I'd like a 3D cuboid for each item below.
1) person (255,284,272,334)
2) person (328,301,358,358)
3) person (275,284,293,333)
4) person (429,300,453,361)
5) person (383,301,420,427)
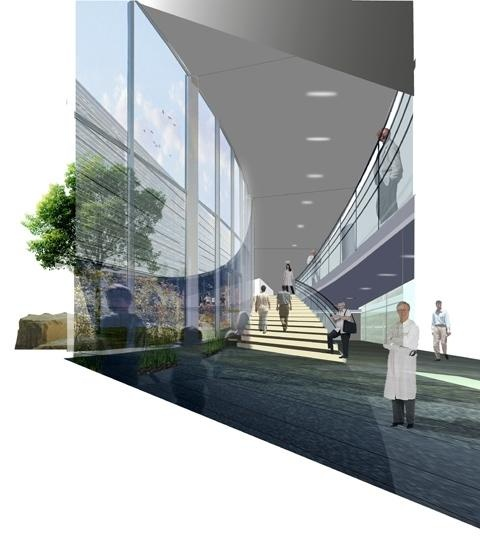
[{"bbox_3d":[0.592,1.020,9.892,0.372,1.343,0.920,1,-4,2],"label":"person"},{"bbox_3d":[2.421,1.453,8.870,0.634,1.412,1.760,0,-4,15],"label":"person"},{"bbox_3d":[1.210,1.025,10.214,0.375,1.265,0.500,1,-4,6],"label":"person"},{"bbox_3d":[5.038,1.507,9.227,0.426,1.581,1.147,-1,-4,30],"label":"person"},{"bbox_3d":[1.624,0.956,3.697,0.295,1.298,0.428,-1,-4,30],"label":"person"}]
